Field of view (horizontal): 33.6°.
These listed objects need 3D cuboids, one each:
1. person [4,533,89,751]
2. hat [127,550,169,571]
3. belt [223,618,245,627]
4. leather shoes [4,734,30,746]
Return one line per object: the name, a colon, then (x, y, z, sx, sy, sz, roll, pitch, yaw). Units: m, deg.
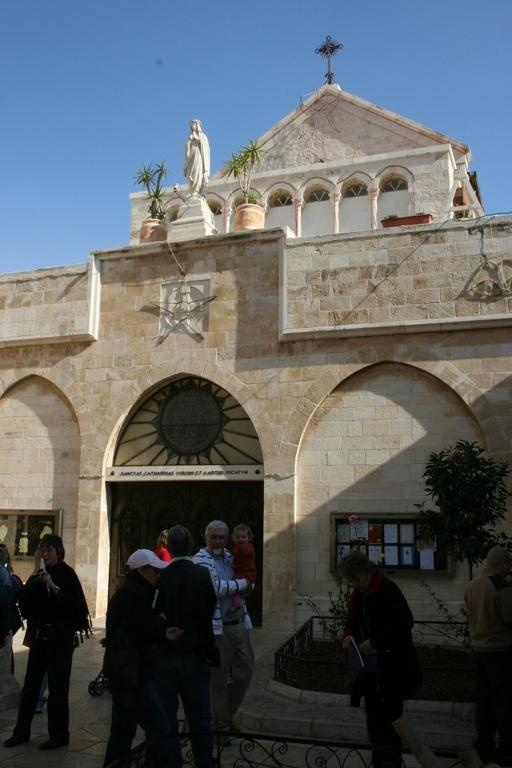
person: (-1.641, 2.017, 6.676, 0.590, 1.586, 0.396, 1, -10, -6)
hat: (-0.705, 1.147, 5.499, 0.260, 0.105, 0.159, 5, -7, -12)
belt: (-0.185, 1.854, 6.566, 0.124, 0.031, 0.119, 0, -10, 4)
leather shoes: (-1.847, 2.734, 6.477, 0.191, 0.081, 0.067, 12, -27, -13)
